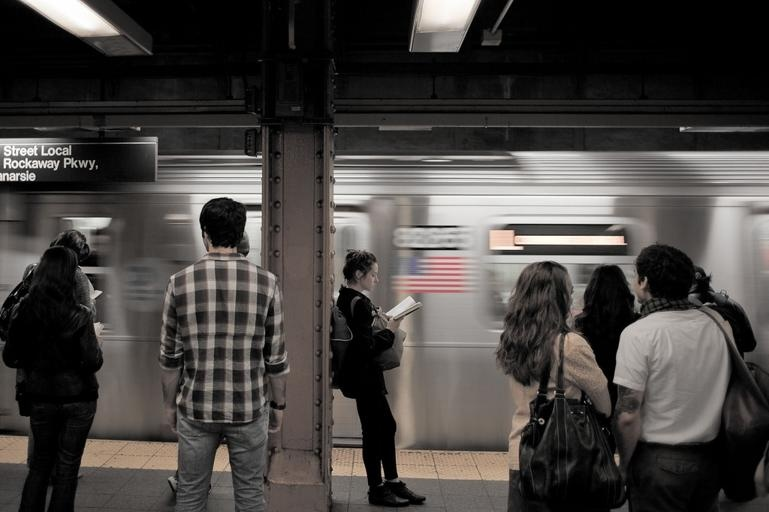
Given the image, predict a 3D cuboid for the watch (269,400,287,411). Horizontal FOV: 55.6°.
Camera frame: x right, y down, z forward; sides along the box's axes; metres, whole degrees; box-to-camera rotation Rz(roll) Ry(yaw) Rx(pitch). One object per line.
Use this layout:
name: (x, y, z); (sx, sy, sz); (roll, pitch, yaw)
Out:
watch: (-0.835, 1.168, 5.676); (0.116, 0.049, 0.082); (1, 1, -4)

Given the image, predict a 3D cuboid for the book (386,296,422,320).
book: (0.164, 0.485, 6.666); (0.288, 0.213, 0.298); (1, 3, -4)

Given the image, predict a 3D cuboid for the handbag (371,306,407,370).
handbag: (0.052, 0.774, 7.004); (0.283, 0.579, 0.724); (1, 3, 0)

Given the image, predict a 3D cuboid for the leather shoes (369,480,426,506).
leather shoes: (0.119, 2.226, 6.896); (0.434, 0.146, 0.252); (-1, -3, 7)
